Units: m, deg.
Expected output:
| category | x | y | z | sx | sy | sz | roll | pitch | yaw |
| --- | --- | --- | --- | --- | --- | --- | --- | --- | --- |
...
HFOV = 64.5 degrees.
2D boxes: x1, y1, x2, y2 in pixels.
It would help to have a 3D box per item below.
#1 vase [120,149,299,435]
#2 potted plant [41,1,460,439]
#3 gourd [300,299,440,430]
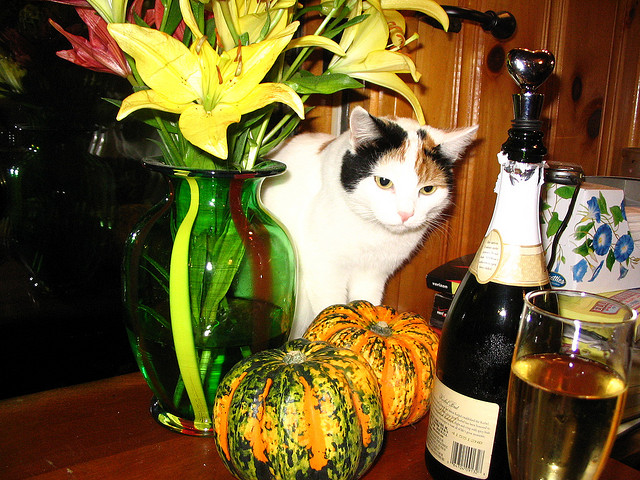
| category | x | y | z | sx | sy | sz | roll | pitch | yaw |
| --- | --- | --- | --- | --- | --- | --- | --- | --- | --- |
| vase | -0.200 | 0.072 | 0.920 | 0.263 | 0.488 | 0.309 | 3 | 18 | -4 |
| potted plant | -0.100 | -0.066 | 0.877 | 0.555 | 0.731 | 0.419 | -8 | 13 | -29 |
| gourd | 0.092 | 0.185 | 0.885 | 0.194 | 0.159 | 0.205 | 4 | 15 | -26 |
